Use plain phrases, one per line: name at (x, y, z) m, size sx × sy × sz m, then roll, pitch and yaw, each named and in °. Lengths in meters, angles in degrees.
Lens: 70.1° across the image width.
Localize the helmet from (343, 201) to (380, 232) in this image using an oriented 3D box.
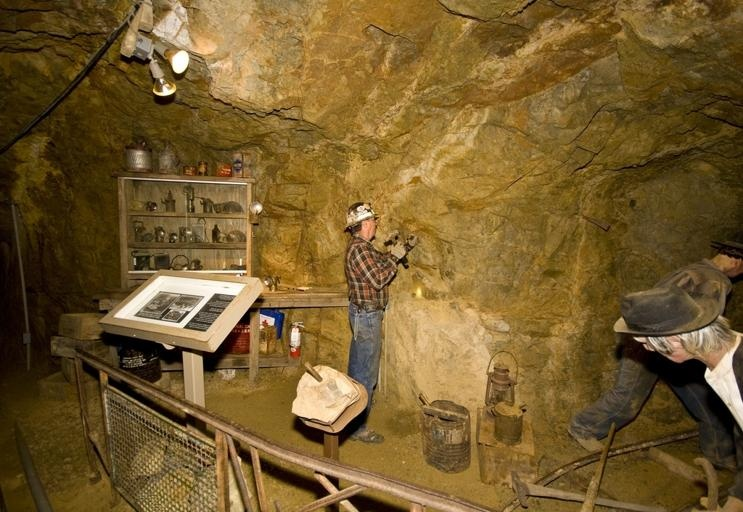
helmet at (-0.111, -0.591, 7.419) m, size 0.398 × 0.214 × 0.416 m, roll -23°, pitch 9°, yaw 37°

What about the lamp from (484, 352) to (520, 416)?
lamp at (1.780, 1.699, 7.215) m, size 0.456 × 0.684 × 0.777 m, roll 7°, pitch 3°, yaw 16°

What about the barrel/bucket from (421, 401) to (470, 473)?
barrel/bucket at (0.974, 2.388, 6.892) m, size 0.775 × 0.977 × 0.565 m, roll 2°, pitch 8°, yaw 20°

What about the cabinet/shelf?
cabinet/shelf at (-3.057, -0.447, 8.380) m, size 1.984 × 1.779 × 0.623 m, roll -1°, pitch 9°, yaw -13°

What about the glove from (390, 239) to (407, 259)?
glove at (0.397, -0.088, 7.320) m, size 0.208 × 0.249 × 0.106 m, roll 41°, pitch -2°, yaw 1°

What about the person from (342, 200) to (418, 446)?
person at (-0.012, 0.927, 7.480) m, size 0.857 × 2.422 × 0.809 m, roll 5°, pitch 4°, yaw -28°

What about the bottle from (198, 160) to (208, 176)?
bottle at (-2.773, -1.449, 8.734) m, size 0.125 × 0.244 × 0.291 m, roll 5°, pitch 3°, yaw -24°
